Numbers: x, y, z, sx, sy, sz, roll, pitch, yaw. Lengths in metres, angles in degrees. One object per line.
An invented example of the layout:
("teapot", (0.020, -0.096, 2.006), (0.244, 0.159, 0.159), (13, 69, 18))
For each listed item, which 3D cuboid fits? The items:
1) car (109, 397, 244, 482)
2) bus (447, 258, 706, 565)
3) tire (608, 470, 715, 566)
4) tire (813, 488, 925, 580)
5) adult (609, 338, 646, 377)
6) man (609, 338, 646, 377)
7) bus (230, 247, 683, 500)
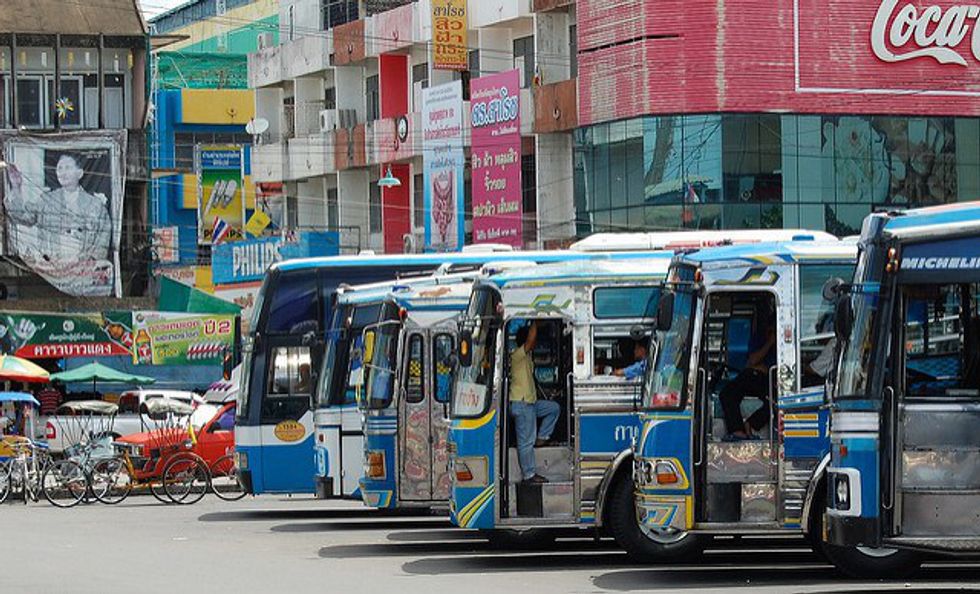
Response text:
("car", (-8.181, 3.533, 47.431), (2.693, 2.588, 4.717), (17, -17, -9))
("bus", (0.515, 2.365, 38.860), (5.242, 5.903, 8.894), (0, -6, 34))
("tire", (3.420, 4.347, 35.773), (2.075, 1.825, 0.676), (5, 11, -6))
("tire", (7.218, 4.468, 33.988), (2.185, 1.909, 0.704), (-2, -3, -1))
("adult", (2.908, 1.285, 36.630), (0.341, 0.758, 0.592), (19, 3, -16))
("man", (2.893, 1.280, 36.625), (0.341, 0.758, 0.592), (19, 3, -16))
("bus", (0.801, 1.896, 42.002), (13.434, 5.733, 4.994), (-4, -5, 24))
